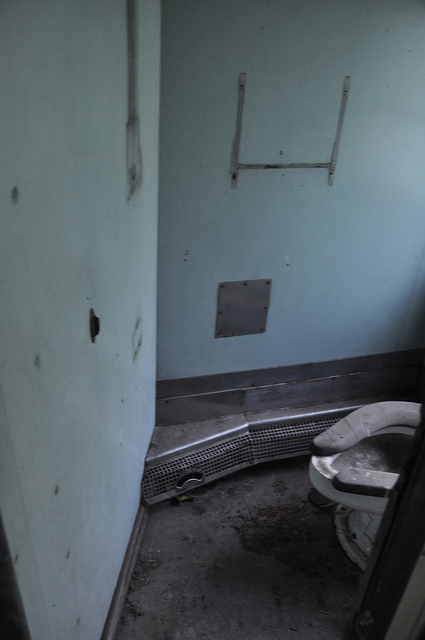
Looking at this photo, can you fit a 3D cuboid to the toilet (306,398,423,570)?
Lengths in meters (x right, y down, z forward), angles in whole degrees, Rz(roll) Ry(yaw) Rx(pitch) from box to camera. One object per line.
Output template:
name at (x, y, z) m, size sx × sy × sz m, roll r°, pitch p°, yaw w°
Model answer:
toilet at (0.476, 0.572, 1.746) m, size 0.319 × 0.510 × 0.538 m, roll 13°, pitch 18°, yaw 24°

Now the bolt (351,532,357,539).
bolt at (0.518, 0.786, 1.849) m, size 0.014 × 0.016 × 0.027 m, roll -7°, pitch 8°, yaw 7°
